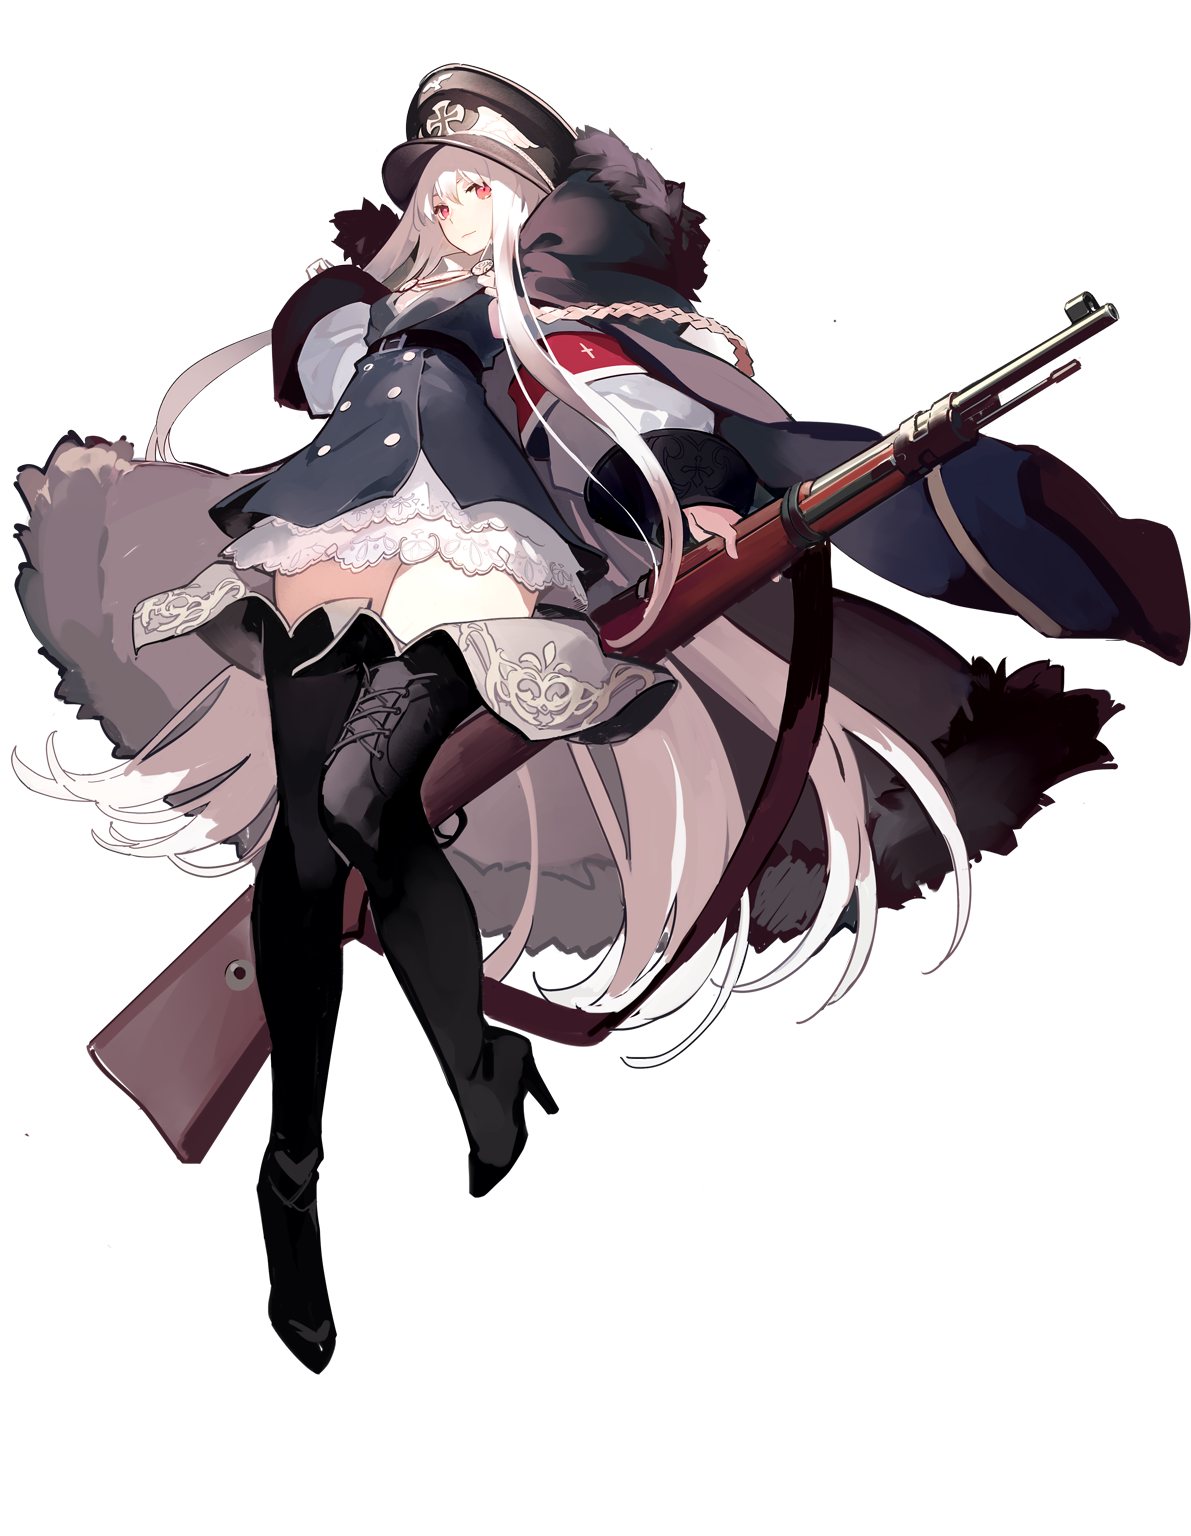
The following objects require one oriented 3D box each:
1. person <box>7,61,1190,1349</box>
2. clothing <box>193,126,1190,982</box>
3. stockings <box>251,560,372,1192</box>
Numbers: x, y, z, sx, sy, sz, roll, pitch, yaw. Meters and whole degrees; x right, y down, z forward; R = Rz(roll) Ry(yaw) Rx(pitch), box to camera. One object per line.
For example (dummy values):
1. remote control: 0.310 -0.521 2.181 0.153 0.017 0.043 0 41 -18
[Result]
1. person: -0.046 -0.086 3.050 1.740 1.506 0.803 -10 -36 21
2. clothing: 0.089 -0.329 2.943 1.411 1.296 0.721 2 -1 -12
3. stockings: -0.444 0.218 2.915 0.249 0.866 0.249 0 1 -7
